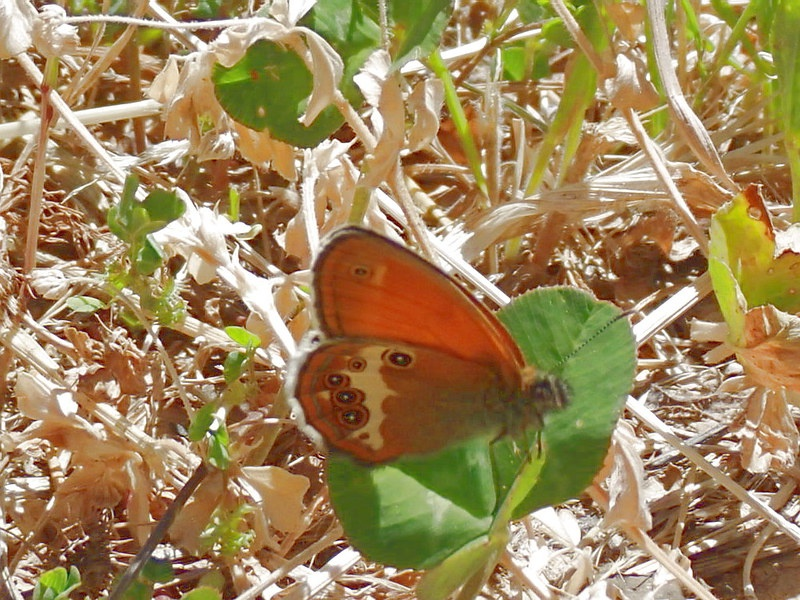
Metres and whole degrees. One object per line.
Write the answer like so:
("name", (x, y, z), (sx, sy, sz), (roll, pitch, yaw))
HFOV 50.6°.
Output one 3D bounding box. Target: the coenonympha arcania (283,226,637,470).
("coenonympha arcania", (0.032, 0.117, 1.403), (0.510, 0.437, 0.215), (3, 55, 15))
